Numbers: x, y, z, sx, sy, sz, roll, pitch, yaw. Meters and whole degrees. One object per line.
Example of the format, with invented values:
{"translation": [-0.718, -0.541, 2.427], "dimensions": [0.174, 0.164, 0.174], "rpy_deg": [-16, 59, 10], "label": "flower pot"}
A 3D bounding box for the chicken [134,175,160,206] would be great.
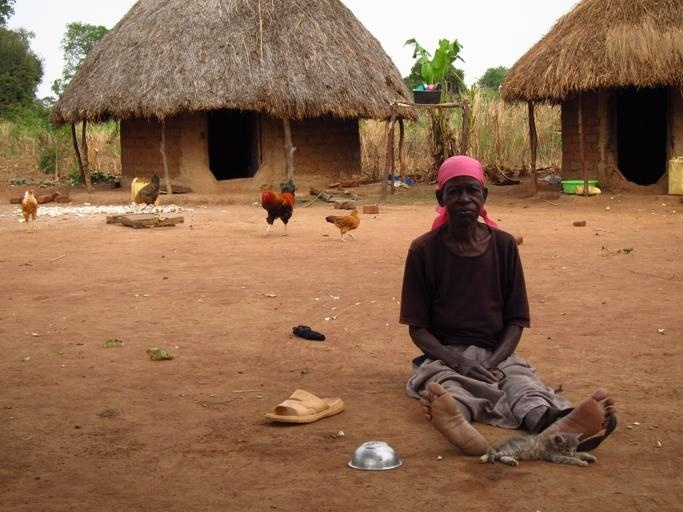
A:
{"translation": [-4.248, -1.398, 15.226], "dimensions": [0.363, 0.513, 0.970], "rpy_deg": [3, 25, 5], "label": "chicken"}

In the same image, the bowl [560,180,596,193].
{"translation": [5.217, -1.509, 15.294], "dimensions": [0.474, 0.158, 0.454], "rpy_deg": [0, 2, 0], "label": "bowl"}

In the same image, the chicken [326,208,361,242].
{"translation": [-0.083, -0.486, 10.652], "dimensions": [0.753, 0.653, 0.370], "rpy_deg": [1, 7, -3], "label": "chicken"}

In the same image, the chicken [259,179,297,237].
{"translation": [-0.981, -0.835, 11.212], "dimensions": [0.918, 1.067, 0.779], "rpy_deg": [1, 13, -2], "label": "chicken"}

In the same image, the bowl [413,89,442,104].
{"translation": [2.156, -3.935, 17.434], "dimensions": [0.644, 0.310, 0.439], "rpy_deg": [-1, 13, 1], "label": "bowl"}

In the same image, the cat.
{"translation": [1.088, 1.051, 3.872], "dimensions": [0.630, 0.158, 0.156], "rpy_deg": [0, 13, 3], "label": "cat"}
